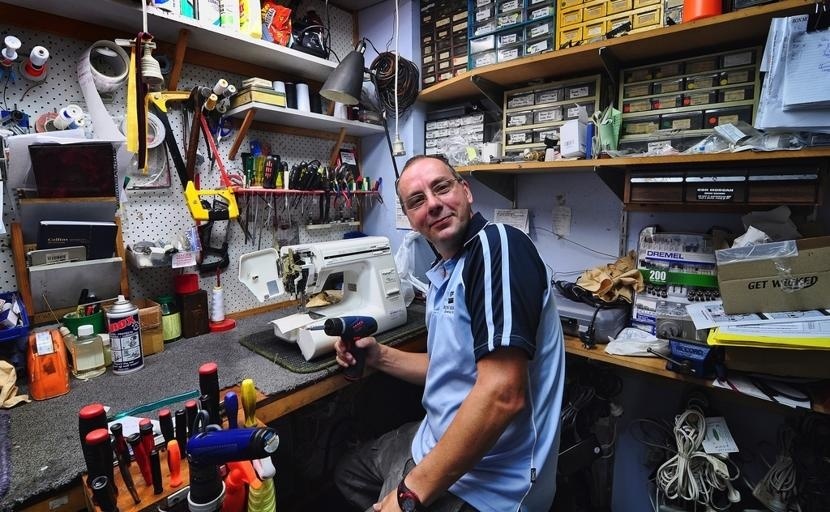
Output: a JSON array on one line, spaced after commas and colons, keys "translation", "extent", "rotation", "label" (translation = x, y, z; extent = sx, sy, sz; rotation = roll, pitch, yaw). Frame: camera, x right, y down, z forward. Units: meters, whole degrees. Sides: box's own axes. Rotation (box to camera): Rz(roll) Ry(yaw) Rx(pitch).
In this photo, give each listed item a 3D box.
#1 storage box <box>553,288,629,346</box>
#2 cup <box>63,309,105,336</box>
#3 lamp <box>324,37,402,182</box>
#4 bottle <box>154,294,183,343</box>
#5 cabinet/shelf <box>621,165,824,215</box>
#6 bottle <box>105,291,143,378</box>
[{"translation": [0.995, 0.331, 3.270], "extent": [0.614, 0.224, 0.599], "rotation": [7, 10, 37], "label": "storage box"}, {"translation": [-1.701, 0.335, 2.727], "extent": [0.137, 0.100, 0.138], "rotation": [0, 1, 0], "label": "cup"}, {"translation": [-0.381, -0.838, 3.257], "extent": [0.373, 0.838, 0.405], "rotation": [-4, 11, -42], "label": "lamp"}, {"translation": [-1.368, 0.353, 2.983], "extent": [0.102, 0.246, 0.126], "rotation": [-7, 8, -29], "label": "bottle"}, {"translation": [1.547, -0.352, 2.719], "extent": [0.871, 0.204, 0.174], "rotation": [1, 8, 34], "label": "cabinet/shelf"}, {"translation": [-1.480, 0.399, 2.710], "extent": [0.154, 0.385, 0.117], "rotation": [-7, 8, -30], "label": "bottle"}]
